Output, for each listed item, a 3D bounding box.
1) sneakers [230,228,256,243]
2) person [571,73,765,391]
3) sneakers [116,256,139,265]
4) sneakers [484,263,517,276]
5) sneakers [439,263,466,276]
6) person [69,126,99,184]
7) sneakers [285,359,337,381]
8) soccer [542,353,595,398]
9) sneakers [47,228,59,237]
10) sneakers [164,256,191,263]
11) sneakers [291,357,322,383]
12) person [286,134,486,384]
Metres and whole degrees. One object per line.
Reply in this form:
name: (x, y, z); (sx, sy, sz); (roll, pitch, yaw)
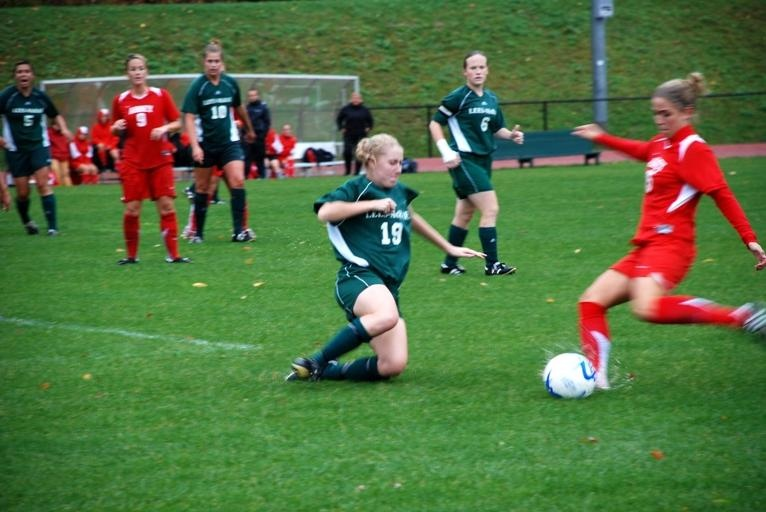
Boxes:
sneakers: (-1.959, -0.280, 11.254); (0.368, 0.140, 0.156); (3, 1, -12)
person: (2.251, -0.231, 6.454); (1.354, 2.388, 1.183); (-2, 17, 11)
sneakers: (-3.131, 0.061, 9.902); (0.280, 0.082, 0.083); (3, 4, -2)
sneakers: (1.340, 0.153, 9.388); (0.408, 0.119, 0.131); (-2, -1, 14)
sneakers: (0.814, 0.163, 9.469); (0.364, 0.116, 0.113); (0, 2, 8)
person: (-7.039, -2.335, 18.808); (0.624, 1.331, 0.997); (-11, 17, -18)
sneakers: (-0.574, 0.951, 6.572); (0.510, 0.125, 0.174); (-8, -28, -15)
soccer: (1.384, 0.926, 6.238); (0.463, 0.303, 0.337); (-3, -28, 2)
sneakers: (-4.789, -0.344, 11.666); (0.152, 0.095, 0.098); (4, -14, 1)
sneakers: (-2.572, 0.045, 9.985); (0.338, 0.102, 0.097); (-3, 4, 8)
sneakers: (-0.599, 0.913, 6.472); (0.222, 0.196, 0.091); (-5, 17, -4)
person: (-0.101, 0.029, 6.478); (0.746, 1.957, 1.342); (12, 23, 44)
